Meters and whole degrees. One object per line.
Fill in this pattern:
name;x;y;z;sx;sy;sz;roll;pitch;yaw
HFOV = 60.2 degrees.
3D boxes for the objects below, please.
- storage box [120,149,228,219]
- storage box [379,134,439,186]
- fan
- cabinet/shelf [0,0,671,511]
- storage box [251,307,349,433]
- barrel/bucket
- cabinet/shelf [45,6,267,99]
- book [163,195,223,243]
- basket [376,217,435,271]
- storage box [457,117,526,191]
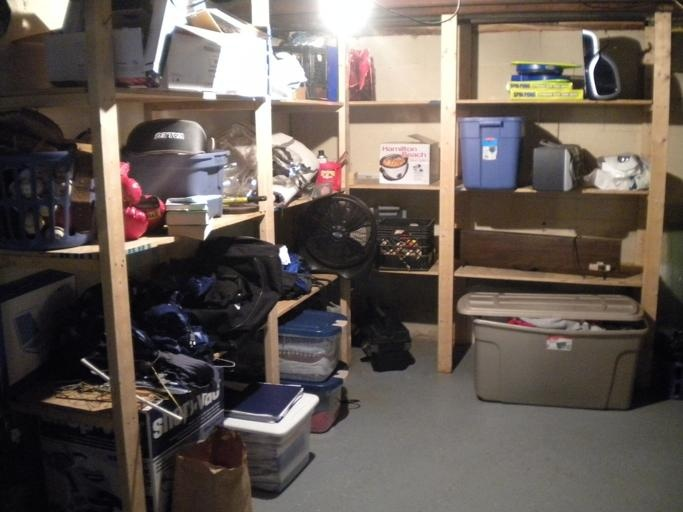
storage box;-0.720;-0.322;2.609;0.273;0.152;0.345;5;11;22
storage box;0.505;-0.674;4.304;0.405;0.411;0.433;1;7;11
fan;-0.038;-0.157;3.868;0.525;0.519;0.182;0;10;3
cabinet/shelf;0.105;-0.001;3.140;2.751;2.558;0.910;2;16;7
storage box;-0.142;0.643;3.483;0.625;0.657;0.487;1;9;14
barrel/bucket;1.762;-1.216;3.857;0.407;0.532;0.189;0;-1;-19
cabinet/shelf;-0.684;-0.884;2.502;0.345;0.382;1.063;5;12;26
book;-0.647;-0.175;2.531;0.178;0.116;0.289;1;13;5
basket;0.440;-0.070;4.134;0.367;0.275;0.379;3;12;17
storage box;0.960;-0.656;3.777;0.402;0.445;0.482;4;15;21
